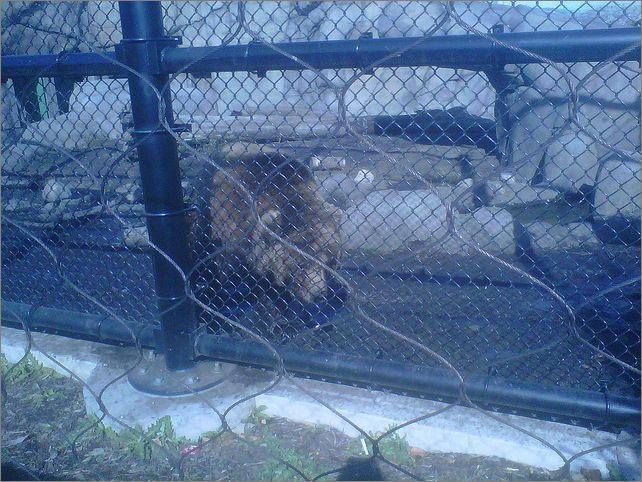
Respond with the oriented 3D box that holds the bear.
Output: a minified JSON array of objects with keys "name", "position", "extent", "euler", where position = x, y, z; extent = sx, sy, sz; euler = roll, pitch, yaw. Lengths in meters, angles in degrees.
[{"name":"bear","position":[-0.450,-0.092,5.888],"extent":[0.936,1.757,1.101],"euler":[-9,-64,-35]}]
